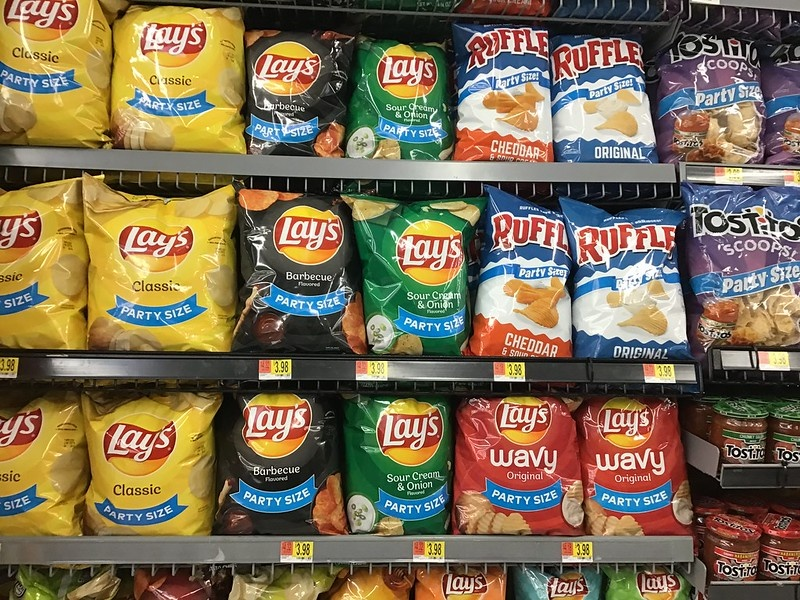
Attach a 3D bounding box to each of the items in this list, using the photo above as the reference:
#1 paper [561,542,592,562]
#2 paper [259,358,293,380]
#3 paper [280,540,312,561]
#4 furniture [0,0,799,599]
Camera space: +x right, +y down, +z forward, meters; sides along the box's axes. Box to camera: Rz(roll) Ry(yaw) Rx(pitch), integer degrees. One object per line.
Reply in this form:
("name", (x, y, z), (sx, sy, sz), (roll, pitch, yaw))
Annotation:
("paper", (0.579, 0.828, 2.246), (0.121, 0.072, 0.062), (2, -18, -1))
("paper", (-0.397, 0.221, 2.185), (0.080, 0.046, 0.008), (0, -17, -3))
("paper", (-0.331, 0.813, 2.206), (0.120, 0.073, 0.060), (2, 9, -5))
("furniture", (-0.056, 0.060, 2.283), (2.495, 1.248, 0.585), (0, -29, -2))
